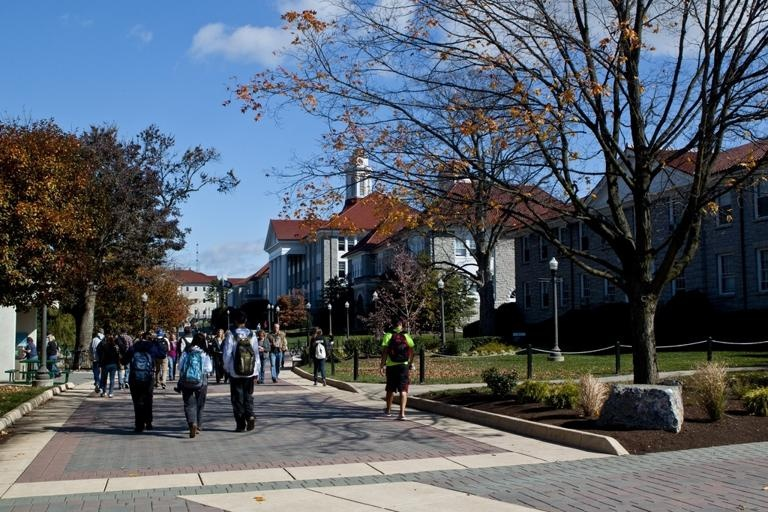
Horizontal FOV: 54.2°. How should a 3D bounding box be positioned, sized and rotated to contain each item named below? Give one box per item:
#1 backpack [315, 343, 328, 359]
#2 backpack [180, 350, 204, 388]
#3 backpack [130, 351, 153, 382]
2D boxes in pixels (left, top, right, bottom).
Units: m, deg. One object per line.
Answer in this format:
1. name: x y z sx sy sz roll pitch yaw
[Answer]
1. backpack: -2.375 3.451 27.714 0.403 0.734 0.527 0 -9 -12
2. backpack: -4.484 2.683 17.594 0.621 0.863 0.490 8 -34 -19
3. backpack: -6.026 2.769 18.689 0.632 0.761 0.426 5 -22 -27
